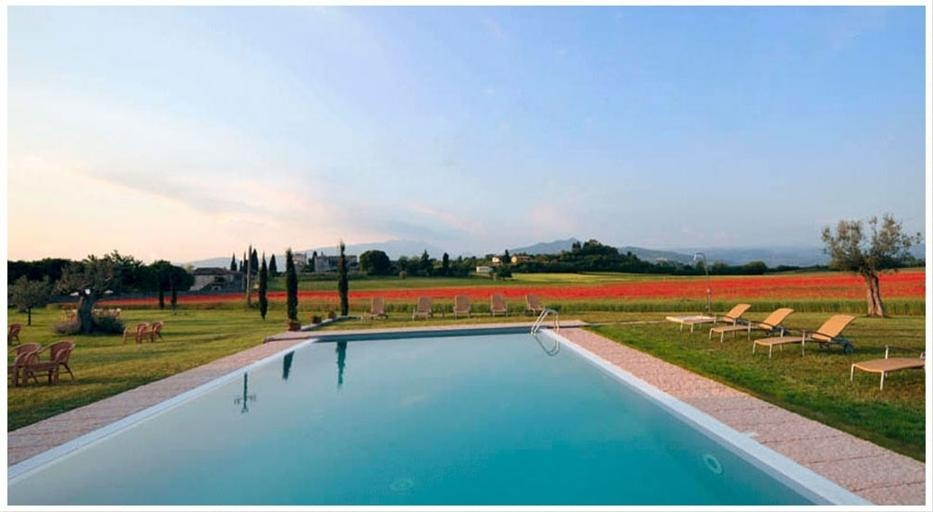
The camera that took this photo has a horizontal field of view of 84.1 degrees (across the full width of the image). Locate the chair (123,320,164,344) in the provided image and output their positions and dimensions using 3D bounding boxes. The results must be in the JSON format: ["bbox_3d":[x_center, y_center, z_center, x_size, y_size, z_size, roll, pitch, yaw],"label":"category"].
[{"bbox_3d":[-17.137,3.986,27.291,1.779,0.987,1.832,1,-5,-31],"label":"chair"}]
